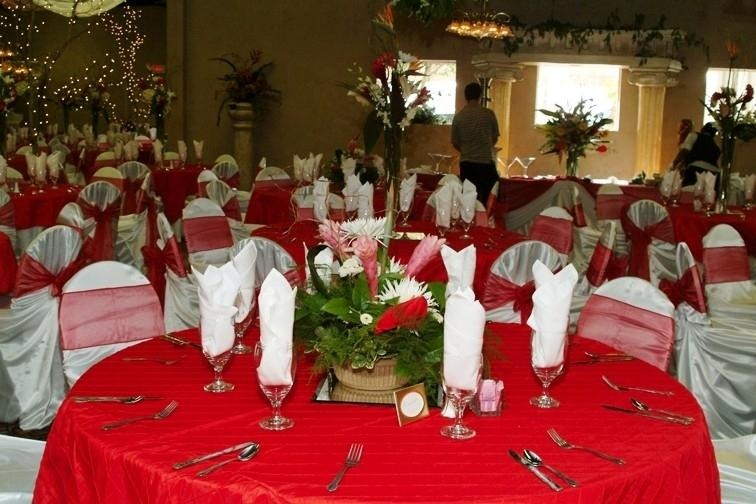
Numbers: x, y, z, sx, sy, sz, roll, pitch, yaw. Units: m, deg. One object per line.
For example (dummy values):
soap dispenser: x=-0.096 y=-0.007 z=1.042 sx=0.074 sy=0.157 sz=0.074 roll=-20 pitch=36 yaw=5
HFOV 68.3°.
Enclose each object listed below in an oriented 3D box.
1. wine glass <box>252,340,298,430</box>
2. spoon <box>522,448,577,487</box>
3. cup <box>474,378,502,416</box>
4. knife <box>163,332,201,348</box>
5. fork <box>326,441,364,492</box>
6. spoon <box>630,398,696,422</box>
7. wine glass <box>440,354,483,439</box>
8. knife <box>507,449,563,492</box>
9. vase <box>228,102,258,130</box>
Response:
wine glass: x=-0.322 y=0.417 z=1.780 sx=0.108 sy=0.249 sz=0.259 roll=1 pitch=7 yaw=-10
spoon: x=0.481 y=0.605 z=1.560 sx=0.042 sy=0.028 sz=0.223 roll=-12 pitch=17 yaw=-13
cup: x=0.367 y=0.475 z=1.820 sx=0.081 sy=0.118 sz=0.043 roll=2 pitch=-4 yaw=-2
knife: x=-0.817 y=0.370 z=2.327 sx=0.042 sy=0.021 sz=0.273 roll=-12 pitch=16 yaw=-38
fork: x=-0.083 y=0.597 z=1.566 sx=0.033 sy=0.033 sz=0.214 roll=0 pitch=31 yaw=24
spoon: x=0.942 y=0.530 z=1.843 sx=0.195 sy=0.032 sz=0.055 roll=13 pitch=27 yaw=34
wine glass: x=0.261 y=0.431 z=1.746 sx=0.111 sy=0.259 sz=0.198 roll=2 pitch=7 yaw=4
knife: x=0.436 y=0.603 z=1.571 sx=0.038 sy=0.022 sz=0.298 roll=-24 pitch=15 yaw=-6
vase: x=-2.480 y=-2.493 z=10.394 sx=0.455 sy=0.534 sz=0.491 roll=2 pitch=19 yaw=4
